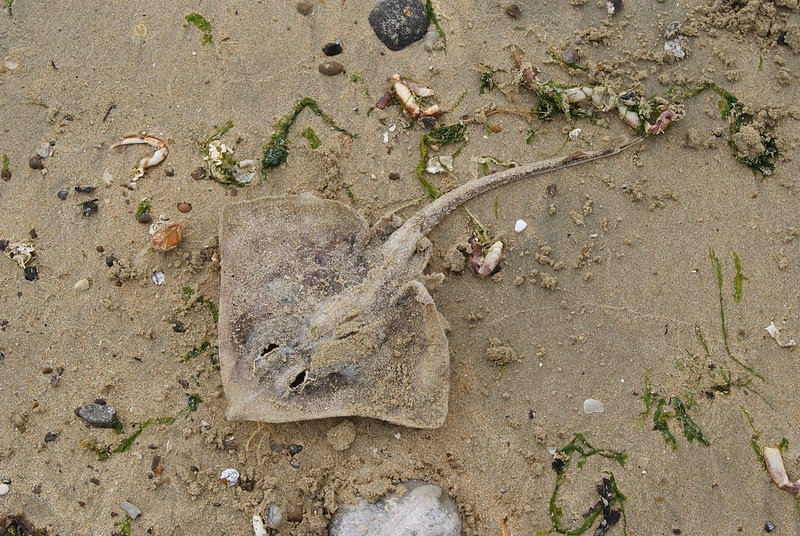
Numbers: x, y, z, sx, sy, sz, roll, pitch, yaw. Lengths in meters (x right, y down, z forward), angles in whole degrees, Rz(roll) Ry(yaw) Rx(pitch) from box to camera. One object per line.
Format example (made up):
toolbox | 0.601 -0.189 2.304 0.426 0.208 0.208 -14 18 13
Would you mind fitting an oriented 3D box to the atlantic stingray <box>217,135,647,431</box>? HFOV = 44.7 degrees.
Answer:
atlantic stingray | -0.660 0.322 11.590 2.114 3.032 2.807 5 87 -8
